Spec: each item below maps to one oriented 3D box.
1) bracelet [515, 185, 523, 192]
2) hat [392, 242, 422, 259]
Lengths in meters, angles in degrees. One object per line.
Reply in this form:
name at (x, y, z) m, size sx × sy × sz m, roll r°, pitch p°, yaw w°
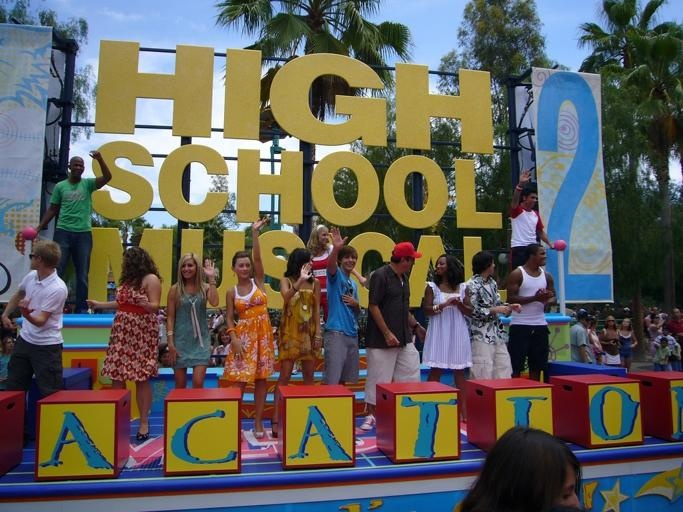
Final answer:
bracelet at (3.054, -1.167, 12.958) m, size 0.155 × 0.078 × 0.176 m, roll 0°, pitch -7°, yaw -7°
hat at (0.959, -0.083, 11.282) m, size 0.319 × 0.225 × 0.248 m, roll -3°, pitch 6°, yaw -10°
